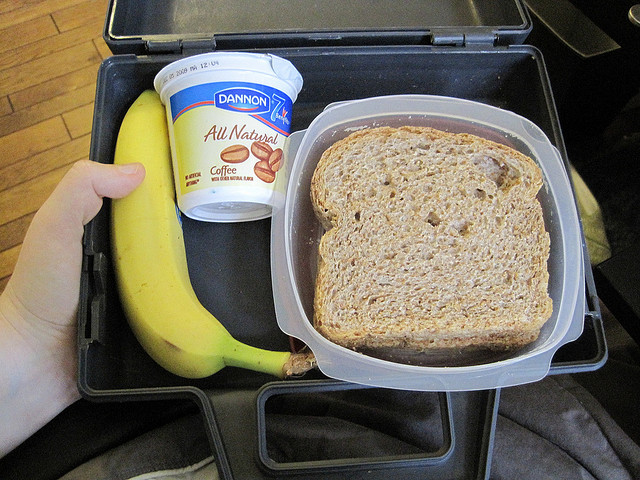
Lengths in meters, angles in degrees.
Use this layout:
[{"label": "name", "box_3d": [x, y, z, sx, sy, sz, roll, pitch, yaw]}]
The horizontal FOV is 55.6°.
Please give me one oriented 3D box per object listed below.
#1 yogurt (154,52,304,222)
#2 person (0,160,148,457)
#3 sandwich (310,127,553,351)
[{"label": "yogurt", "box_3d": [-0.207, -0.223, 1.414, 0.329, 0.347, 0.323, -9, 79, 19]}, {"label": "person", "box_3d": [-0.539, 0.136, 1.436, 0.280, 0.199, 0.868, 9, 91, 12]}, {"label": "sandwich", "box_3d": [0.243, -0.011, 1.331, 0.524, 0.065, 0.492, 1, 79, 1]}]
